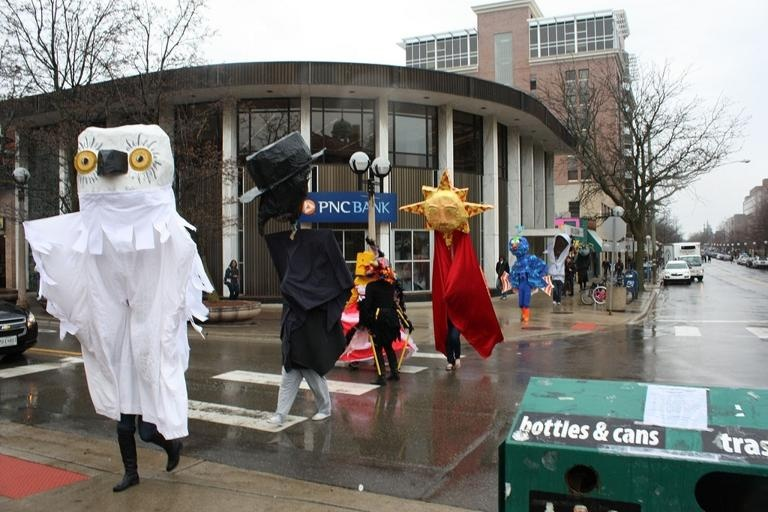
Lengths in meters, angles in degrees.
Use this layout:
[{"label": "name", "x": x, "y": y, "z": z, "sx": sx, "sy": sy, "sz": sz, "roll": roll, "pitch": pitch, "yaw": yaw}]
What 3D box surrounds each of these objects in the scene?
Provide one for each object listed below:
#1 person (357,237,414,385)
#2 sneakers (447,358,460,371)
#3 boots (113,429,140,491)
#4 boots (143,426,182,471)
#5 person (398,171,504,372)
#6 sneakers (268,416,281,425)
[{"label": "person", "x": -0.042, "y": 1.065, "z": 14.081, "sx": 0.852, "sy": 2.618, "sz": 1.066, "roll": 3, "pitch": 5, "yaw": 26}, {"label": "sneakers", "x": 1.473, "y": 2.256, "z": 14.913, "sx": 0.123, "sy": 0.164, "sz": 0.390, "roll": -4, "pitch": -8, "yaw": 28}, {"label": "boots", "x": -3.393, "y": 2.663, "z": 9.527, "sx": 0.359, "sy": 0.771, "sz": 0.359, "roll": -1, "pitch": 5, "yaw": -27}, {"label": "boots", "x": -2.991, "y": 2.632, "z": 9.837, "sx": 0.271, "sy": 0.458, "sz": 0.583, "roll": -29, "pitch": -55, "yaw": 36}, {"label": "person", "x": 1.553, "y": 0.297, "z": 14.765, "sx": 1.449, "sy": 4.051, "sz": 0.669, "roll": 1, "pitch": 4, "yaw": 3}, {"label": "sneakers", "x": -1.734, "y": 2.614, "z": 11.446, "sx": 0.269, "sy": 0.130, "sz": 0.106, "roll": 5, "pitch": -10, "yaw": -3}]
